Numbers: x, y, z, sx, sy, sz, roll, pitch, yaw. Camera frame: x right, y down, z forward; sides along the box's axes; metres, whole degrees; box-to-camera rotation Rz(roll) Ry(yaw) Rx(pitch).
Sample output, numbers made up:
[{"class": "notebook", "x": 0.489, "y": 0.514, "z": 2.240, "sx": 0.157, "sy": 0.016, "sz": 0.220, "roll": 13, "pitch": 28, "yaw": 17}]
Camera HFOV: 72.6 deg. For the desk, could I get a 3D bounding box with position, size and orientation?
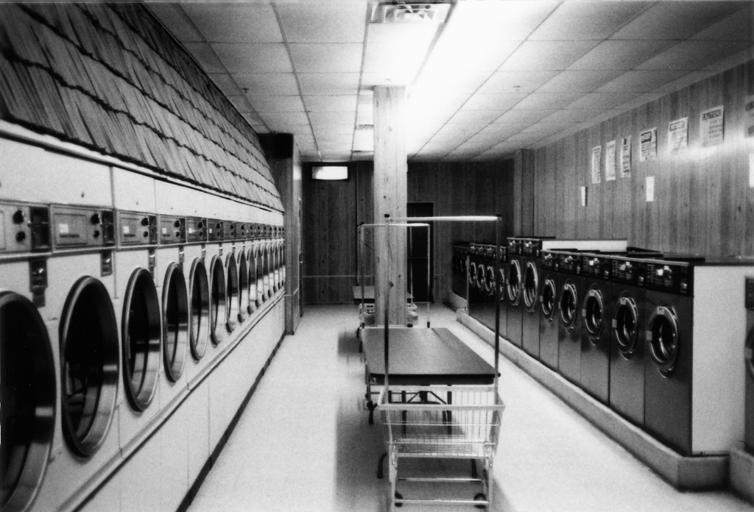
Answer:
[{"class": "desk", "x": 0.420, "y": 1.082, "z": 4.788, "sx": 0.897, "sy": 0.544, "sz": 2.034, "roll": -3, "pitch": 3, "yaw": 1}]
